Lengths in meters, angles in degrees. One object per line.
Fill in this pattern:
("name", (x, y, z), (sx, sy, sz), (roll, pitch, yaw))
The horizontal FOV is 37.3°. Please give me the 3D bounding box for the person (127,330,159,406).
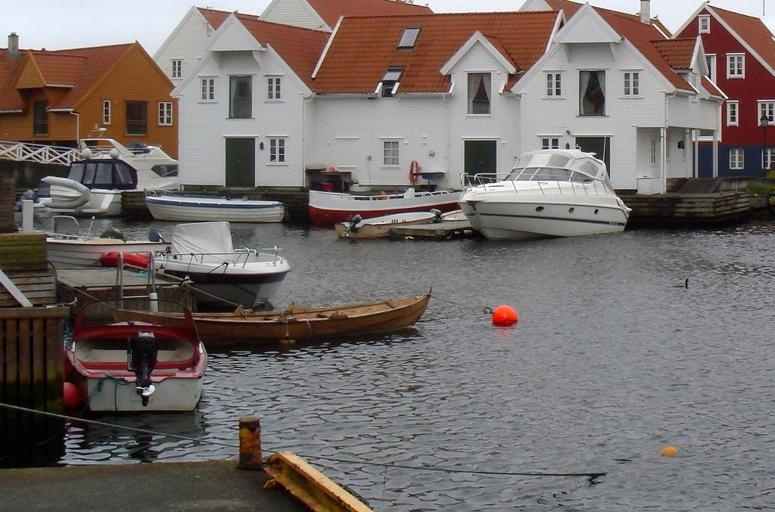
("person", (-4.999, 2.193, 22.668), (0.679, 1.363, 0.686), (-2, -12, -8))
